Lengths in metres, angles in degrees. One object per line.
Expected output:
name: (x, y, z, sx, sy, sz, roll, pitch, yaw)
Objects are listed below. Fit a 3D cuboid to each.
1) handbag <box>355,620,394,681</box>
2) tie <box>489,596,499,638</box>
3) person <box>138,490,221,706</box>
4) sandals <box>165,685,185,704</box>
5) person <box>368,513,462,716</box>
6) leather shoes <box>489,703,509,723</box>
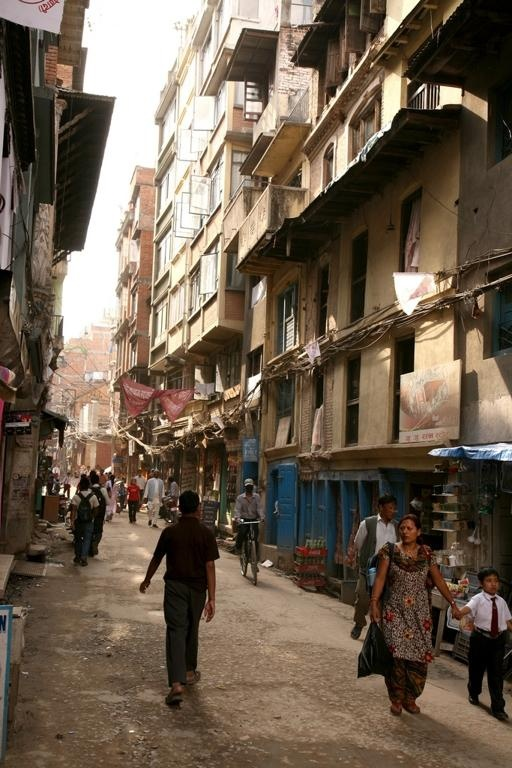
handbag: (0.860, 1.910, 4.834, 0.288, 0.407, 0.186, 10, -11, -41)
tie: (1.943, 1.933, 5.539, 0.083, 0.295, 0.046, 9, -11, -42)
person: (-0.528, 1.584, 5.101, 0.541, 1.509, 0.920, 5, -9, -16)
sandals: (-0.562, 2.155, 4.639, 0.121, 0.135, 0.207, 4, -9, -8)
person: (1.098, 1.731, 5.012, 0.704, 1.475, 0.466, 4, -8, -15)
leather shoes: (1.872, 2.552, 5.198, 0.052, 0.083, 0.169, 3, 4, -5)
